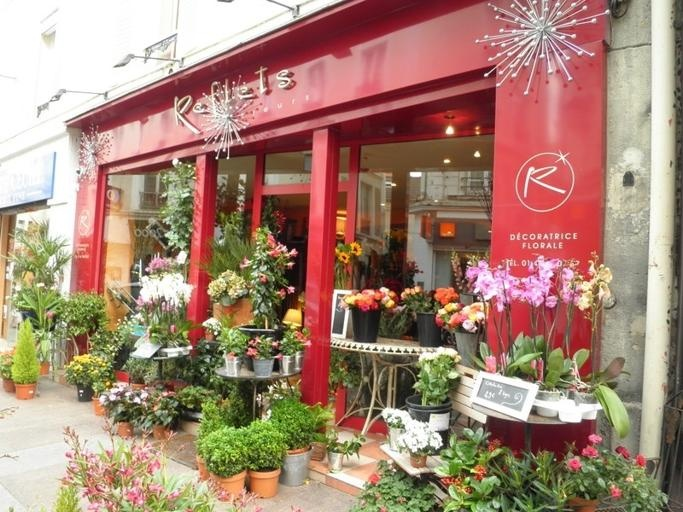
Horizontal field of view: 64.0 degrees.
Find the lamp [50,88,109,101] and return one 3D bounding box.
[{"bbox_3d":[-4.285,-2.660,8.985,0.602,0.168,0.608,-2,12,-23],"label":"lamp"}]

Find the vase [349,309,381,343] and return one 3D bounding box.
[{"bbox_3d":[0.234,0.693,5.445,0.325,0.278,0.307,2,-6,-1],"label":"vase"}]

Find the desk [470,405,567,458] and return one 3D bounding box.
[{"bbox_3d":[1.260,1.271,3.956,0.602,0.388,0.577,1,-2,19],"label":"desk"}]

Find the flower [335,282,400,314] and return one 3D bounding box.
[{"bbox_3d":[0.273,0.431,5.448,0.506,0.240,0.227,2,-2,-14],"label":"flower"}]

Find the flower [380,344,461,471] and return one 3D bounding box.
[{"bbox_3d":[0.743,1.239,4.850,0.774,1.339,0.818,0,-1,-1],"label":"flower"}]

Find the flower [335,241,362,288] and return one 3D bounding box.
[{"bbox_3d":[0.070,0.109,6.271,0.473,0.504,0.297,-1,-9,33],"label":"flower"}]

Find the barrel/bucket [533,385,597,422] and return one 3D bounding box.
[{"bbox_3d":[1.587,1.004,3.819,0.328,0.102,0.241,0,3,-45],"label":"barrel/bucket"}]

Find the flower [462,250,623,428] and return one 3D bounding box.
[{"bbox_3d":[1.515,0.595,4.037,1.062,1.202,0.698,1,-2,27],"label":"flower"}]

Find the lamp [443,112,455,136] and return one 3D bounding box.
[{"bbox_3d":[1.140,-1.393,5.777,0.130,0.213,0.131,-11,16,-35],"label":"lamp"}]

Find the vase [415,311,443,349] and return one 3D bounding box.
[{"bbox_3d":[0.819,0.716,5.345,0.276,0.305,0.299,-1,-8,3],"label":"vase"}]
